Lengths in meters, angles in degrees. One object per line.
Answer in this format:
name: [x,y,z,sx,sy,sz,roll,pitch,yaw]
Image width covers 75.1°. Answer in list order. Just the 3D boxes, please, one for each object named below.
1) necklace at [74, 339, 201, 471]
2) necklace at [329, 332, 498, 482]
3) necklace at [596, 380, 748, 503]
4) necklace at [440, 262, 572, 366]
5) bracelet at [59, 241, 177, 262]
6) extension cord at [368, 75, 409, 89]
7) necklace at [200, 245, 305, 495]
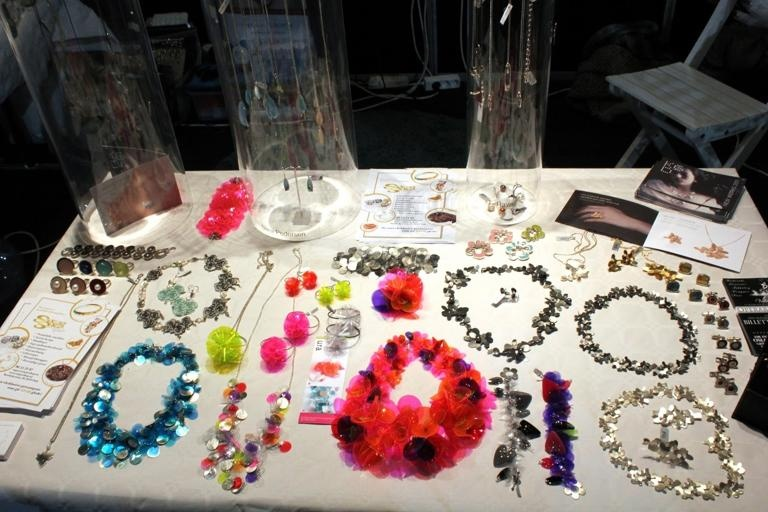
necklace: [-0.690,0.441,1.469,0.249,0.056,0.313,8,54,13]
necklace: [0.088,0.439,1.438,0.323,0.124,0.339,-5,50,-1]
necklace: [0.752,0.493,1.324,0.356,0.067,0.297,-8,44,-4]
necklace: [0.374,0.141,1.530,0.293,0.018,0.341,3,52,6]
bracelet: [-0.944,-0.013,1.798,0.288,0.036,0.055,2,56,-2]
extension cord: [0.037,-1.173,3.358,0.278,0.055,0.099,-3,44,1]
necklace: [-0.378,0.342,1.403,0.159,0.025,0.512,5,50,6]
